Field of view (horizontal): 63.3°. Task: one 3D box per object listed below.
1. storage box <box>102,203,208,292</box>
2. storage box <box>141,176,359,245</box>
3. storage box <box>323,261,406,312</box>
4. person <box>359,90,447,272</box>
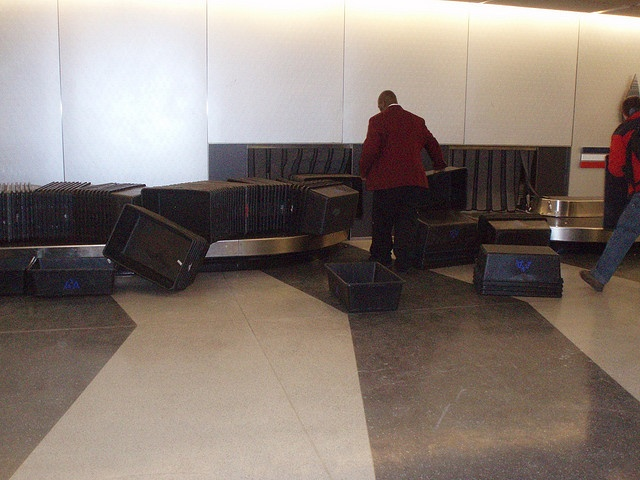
[{"bbox_3d":[-1.362,0.054,4.688,0.897,0.614,0.391,23,6,9],"label":"storage box"},{"bbox_3d":[-0.685,-0.317,5.202,1.054,0.387,1.121,6,10,21],"label":"storage box"},{"bbox_3d":[0.342,0.324,4.295,0.360,0.214,0.562,0,11,-13],"label":"storage box"},{"bbox_3d":[0.833,-0.534,5.409,0.850,1.677,0.473,-2,14,-10],"label":"person"}]
